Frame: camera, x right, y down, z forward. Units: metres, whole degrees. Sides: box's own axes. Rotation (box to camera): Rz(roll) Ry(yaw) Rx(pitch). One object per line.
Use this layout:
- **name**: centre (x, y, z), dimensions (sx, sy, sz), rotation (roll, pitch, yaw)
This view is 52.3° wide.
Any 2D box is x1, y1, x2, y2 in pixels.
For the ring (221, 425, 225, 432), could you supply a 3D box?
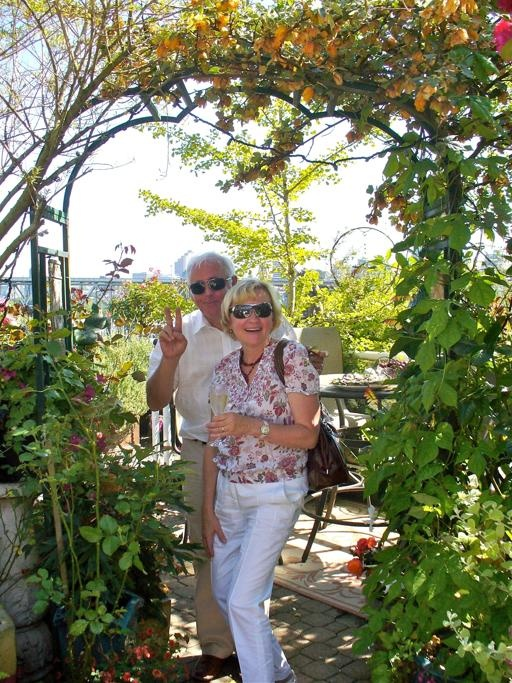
- **ring**: centre (-0.102, 0.273, 1.667), dimensions (0.017, 0.014, 0.004), rotation (-1, 12, -20)

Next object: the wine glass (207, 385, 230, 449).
- **wine glass**: centre (-0.126, 0.205, 1.733), dimensions (0.063, 0.131, 0.159), rotation (-4, 1, -4)

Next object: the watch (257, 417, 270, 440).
- **watch**: centre (0.023, 0.282, 1.700), dimensions (0.041, 0.058, 0.062), rotation (0, 2, -17)

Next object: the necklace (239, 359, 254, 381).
- **necklace**: centre (-0.037, 0.101, 1.973), dimensions (0.049, 0.069, 0.051), rotation (-16, -28, 36)

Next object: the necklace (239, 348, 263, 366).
- **necklace**: centre (-0.026, 0.042, 1.977), dimensions (0.065, 0.076, 0.030), rotation (4, 11, 21)
